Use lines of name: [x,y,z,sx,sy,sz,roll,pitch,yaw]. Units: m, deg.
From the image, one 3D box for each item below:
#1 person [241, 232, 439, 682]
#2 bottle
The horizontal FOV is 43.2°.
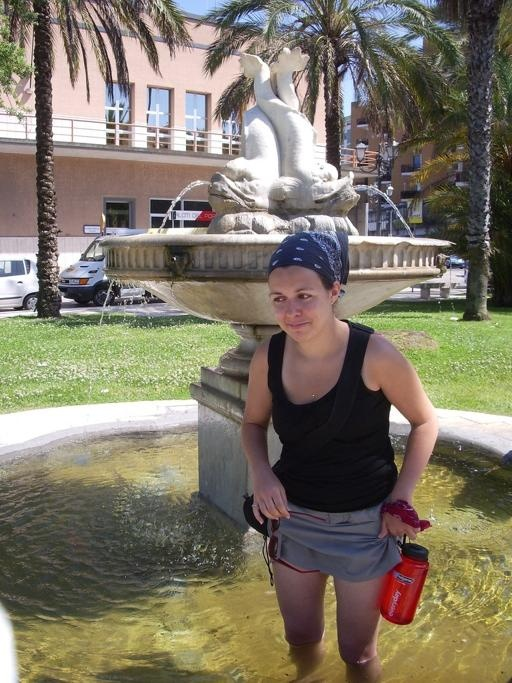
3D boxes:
person: [0.211,0.418,1.845,0.574,1.443,0.342,1,9,13]
bottle: [0.402,0.651,1.756,0.103,0.229,0.117,-2,8,-10]
